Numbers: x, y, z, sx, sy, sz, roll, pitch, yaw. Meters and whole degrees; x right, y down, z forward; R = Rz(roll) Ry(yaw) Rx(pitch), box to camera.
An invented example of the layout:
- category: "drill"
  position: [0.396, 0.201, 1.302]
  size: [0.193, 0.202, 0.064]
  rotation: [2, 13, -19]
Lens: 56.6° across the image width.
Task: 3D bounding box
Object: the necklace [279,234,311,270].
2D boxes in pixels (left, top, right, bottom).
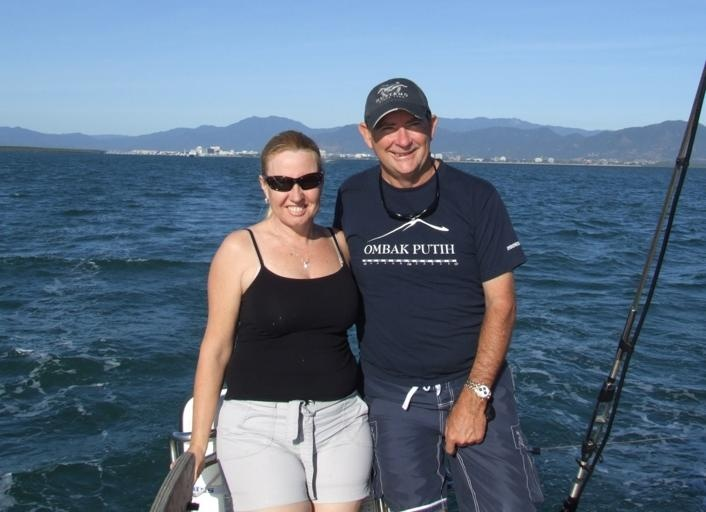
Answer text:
- category: "necklace"
  position: [-0.457, -0.030, 5.290]
  size: [0.295, 0.255, 0.074]
  rotation: [0, 14, 8]
